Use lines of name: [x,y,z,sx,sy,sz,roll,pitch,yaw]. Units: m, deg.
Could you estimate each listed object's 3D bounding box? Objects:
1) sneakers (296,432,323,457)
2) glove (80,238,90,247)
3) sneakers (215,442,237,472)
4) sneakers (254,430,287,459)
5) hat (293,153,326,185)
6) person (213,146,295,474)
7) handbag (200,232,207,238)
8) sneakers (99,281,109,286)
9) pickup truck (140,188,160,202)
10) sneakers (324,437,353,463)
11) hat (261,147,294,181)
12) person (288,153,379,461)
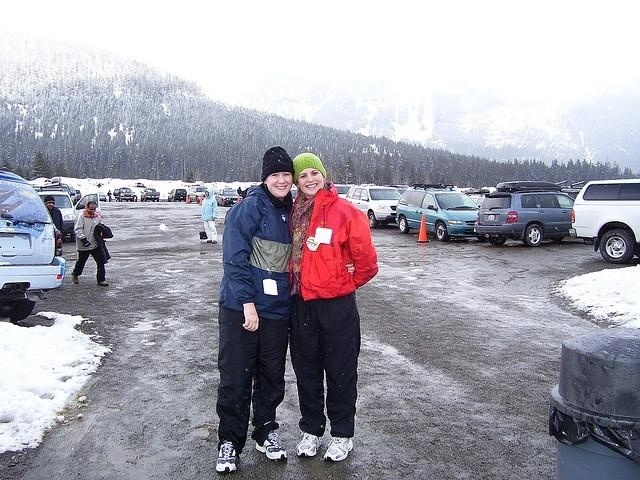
sneakers: [-0.106,1.664,3.611,0.095,0.118,0.249,0,-12,6]
glove: [-5.495,0.045,10.366,0.155,0.203,0.074,-7,15,-4]
sneakers: [-0.717,1.653,3.405,0.160,0.182,0.180,-1,6,-13]
sneakers: [-0.404,1.666,3.639,0.121,0.142,0.286,6,-11,-32]
hat: [-0.096,-0.624,3.722,0.236,0.200,0.241,0,-4,39]
person: [-0.515,0.640,3.517,0.627,2.224,0.460,-1,5,-14]
handbag: [-5.150,-0.223,19.358,0.279,0.300,0.217,-3,8,13]
sneakers: [-4.991,0.991,10.267,0.242,0.113,0.101,-4,3,30]
pickup truck: [-26.605,-7.173,69.470,1.867,1.509,3.111,-2,10,-20]
sneakers: [0.135,1.663,3.557,0.103,0.136,0.272,-1,-11,21]
hat: [-0.378,-0.630,3.722,0.249,0.290,0.278,1,3,-21]
person: [0.094,0.508,3.636,0.690,2.440,0.499,0,5,-5]
